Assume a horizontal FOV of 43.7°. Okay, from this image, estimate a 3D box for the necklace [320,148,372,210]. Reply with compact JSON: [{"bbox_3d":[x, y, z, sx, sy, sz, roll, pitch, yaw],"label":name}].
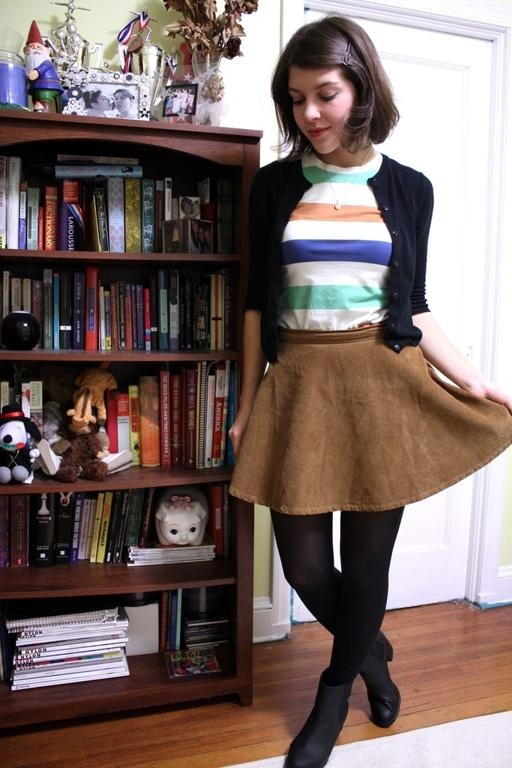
[{"bbox_3d":[0.178,-0.403,1.263,0.127,0.117,0.068,-5,-4,1],"label":"necklace"}]
